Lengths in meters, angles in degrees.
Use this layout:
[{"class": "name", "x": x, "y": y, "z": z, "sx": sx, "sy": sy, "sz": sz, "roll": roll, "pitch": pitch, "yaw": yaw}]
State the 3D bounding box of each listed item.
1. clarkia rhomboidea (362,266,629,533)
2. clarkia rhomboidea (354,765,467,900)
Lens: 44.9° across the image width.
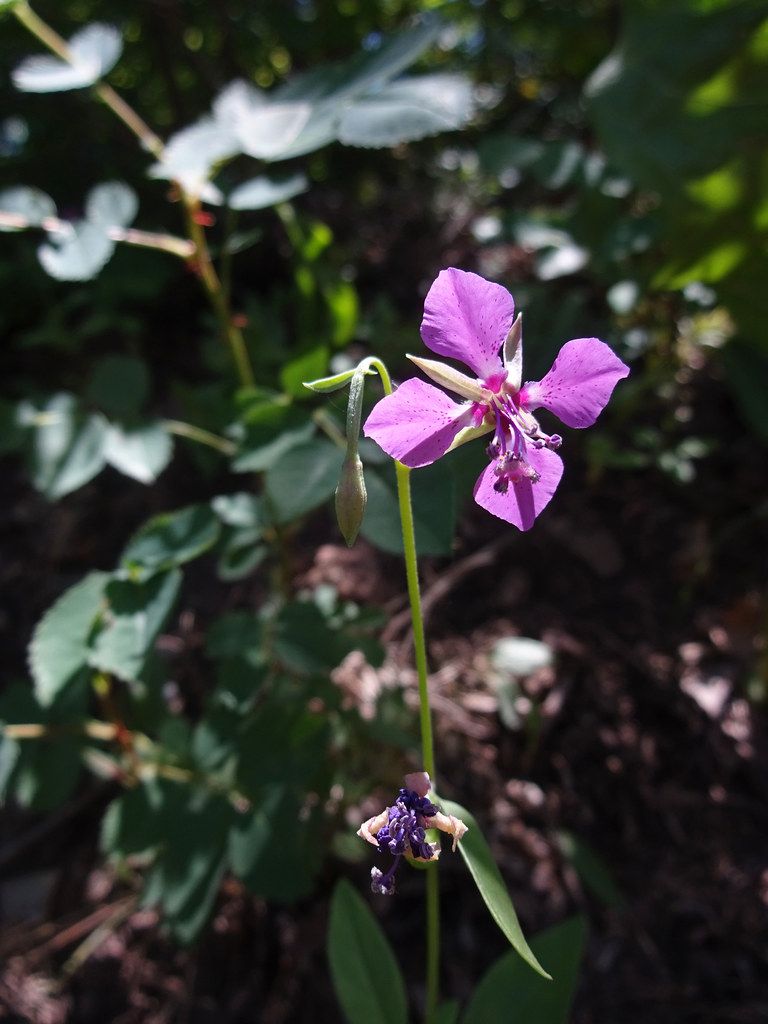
[{"class": "clarkia rhomboidea", "x": 0.177, "y": -0.192, "z": 1.446, "sx": 0.120, "sy": 0.338, "sz": 0.324, "roll": -40, "pitch": 40, "yaw": -10}, {"class": "clarkia rhomboidea", "x": 0.033, "y": 0.475, "z": 1.424, "sx": 0.134, "sy": 0.068, "sz": 0.171, "roll": -4, "pitch": 28, "yaw": 29}]
